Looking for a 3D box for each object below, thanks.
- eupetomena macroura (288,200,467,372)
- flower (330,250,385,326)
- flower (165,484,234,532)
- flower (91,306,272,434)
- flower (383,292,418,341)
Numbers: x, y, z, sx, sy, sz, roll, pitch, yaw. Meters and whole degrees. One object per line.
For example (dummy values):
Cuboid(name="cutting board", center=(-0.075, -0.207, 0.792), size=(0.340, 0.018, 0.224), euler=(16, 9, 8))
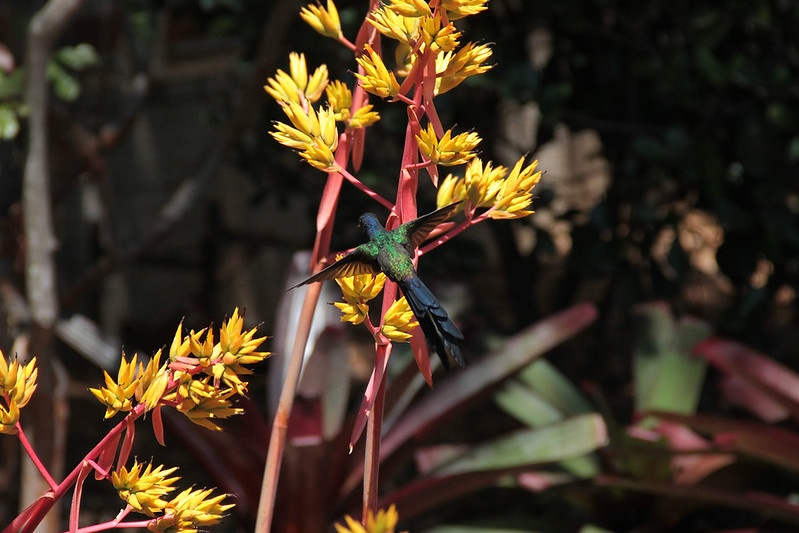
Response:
Cuboid(name="eupetomena macroura", center=(0.020, 0.023, 1.368), size=(0.274, 0.105, 0.281), euler=(-24, 40, -14))
Cuboid(name="flower", center=(-0.061, 0.042, 1.427), size=(0.069, 0.061, 0.077), euler=(2, 68, 8))
Cuboid(name="flower", center=(-0.305, 0.381, 1.459), size=(0.089, 0.051, 0.092), euler=(-13, 35, -6))
Cuboid(name="flower", center=(-0.305, 0.174, 1.442), size=(0.284, 0.155, 0.167), euler=(-5, 60, -2))
Cuboid(name="flower", center=(0.002, 0.083, 1.424), size=(0.059, 0.064, 0.055), euler=(-7, 43, -6))
